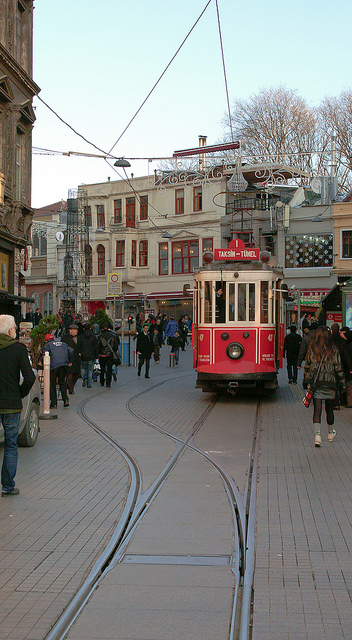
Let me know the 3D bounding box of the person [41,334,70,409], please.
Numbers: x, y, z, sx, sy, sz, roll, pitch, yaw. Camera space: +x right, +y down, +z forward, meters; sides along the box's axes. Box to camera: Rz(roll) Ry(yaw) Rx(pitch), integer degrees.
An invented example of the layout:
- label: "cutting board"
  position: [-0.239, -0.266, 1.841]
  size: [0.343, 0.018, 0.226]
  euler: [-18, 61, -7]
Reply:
- label: "person"
  position: [-2.667, 1.165, 14.409]
  size: [0.613, 1.642, 0.578]
  euler: [1, -1, -37]

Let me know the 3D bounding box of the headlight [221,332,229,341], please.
- label: "headlight"
  position: [1.099, 0.375, 14.346]
  size: [0.143, 0.174, 0.038]
  euler: [0, -3, 5]

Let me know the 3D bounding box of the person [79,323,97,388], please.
- label: "person"
  position: [-2.602, 1.160, 19.160]
  size: [0.511, 1.754, 1.981]
  euler: [0, -1, -8]

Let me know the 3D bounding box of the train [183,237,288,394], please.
- label: "train"
  position: [1.494, -0.078, 15.118]
  size: [1.762, 3.732, 2.253]
  euler: [0, -1, 19]

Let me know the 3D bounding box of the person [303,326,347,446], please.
- label: "person"
  position: [2.245, 0.999, 9.970]
  size: [0.549, 1.799, 0.997]
  euler: [-1, -1, 36]

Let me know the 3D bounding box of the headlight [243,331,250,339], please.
- label: "headlight"
  position: [1.558, 0.343, 14.303]
  size: [0.121, 0.147, 0.033]
  euler: [0, -1, 2]

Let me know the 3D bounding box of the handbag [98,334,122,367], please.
- label: "handbag"
  position: [-1.928, 0.851, 18.718]
  size: [0.331, 0.846, 0.764]
  euler: [-1, -1, 43]
